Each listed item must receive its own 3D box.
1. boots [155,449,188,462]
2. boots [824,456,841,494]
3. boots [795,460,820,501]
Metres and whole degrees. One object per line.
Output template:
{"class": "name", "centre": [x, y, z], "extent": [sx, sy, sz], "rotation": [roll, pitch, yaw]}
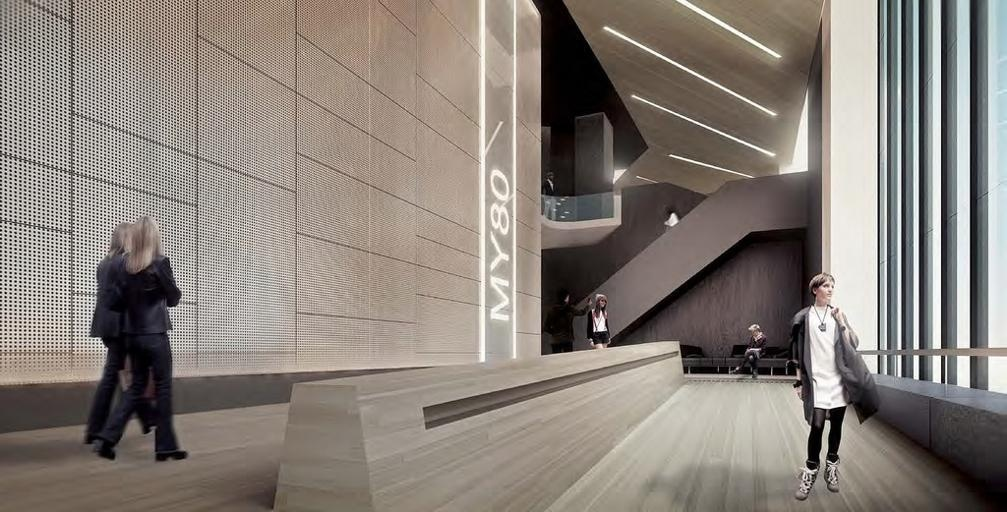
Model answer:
{"class": "boots", "centre": [-3.400, 2.062, 5.477], "extent": [0.349, 0.128, 0.116], "rotation": [-1, -7, -16]}
{"class": "boots", "centre": [3.633, 2.394, 5.765], "extent": [0.151, 0.396, 0.183], "rotation": [0, -24, 17]}
{"class": "boots", "centre": [3.262, 2.384, 5.686], "extent": [0.207, 0.233, 0.564], "rotation": [1, 13, 33]}
